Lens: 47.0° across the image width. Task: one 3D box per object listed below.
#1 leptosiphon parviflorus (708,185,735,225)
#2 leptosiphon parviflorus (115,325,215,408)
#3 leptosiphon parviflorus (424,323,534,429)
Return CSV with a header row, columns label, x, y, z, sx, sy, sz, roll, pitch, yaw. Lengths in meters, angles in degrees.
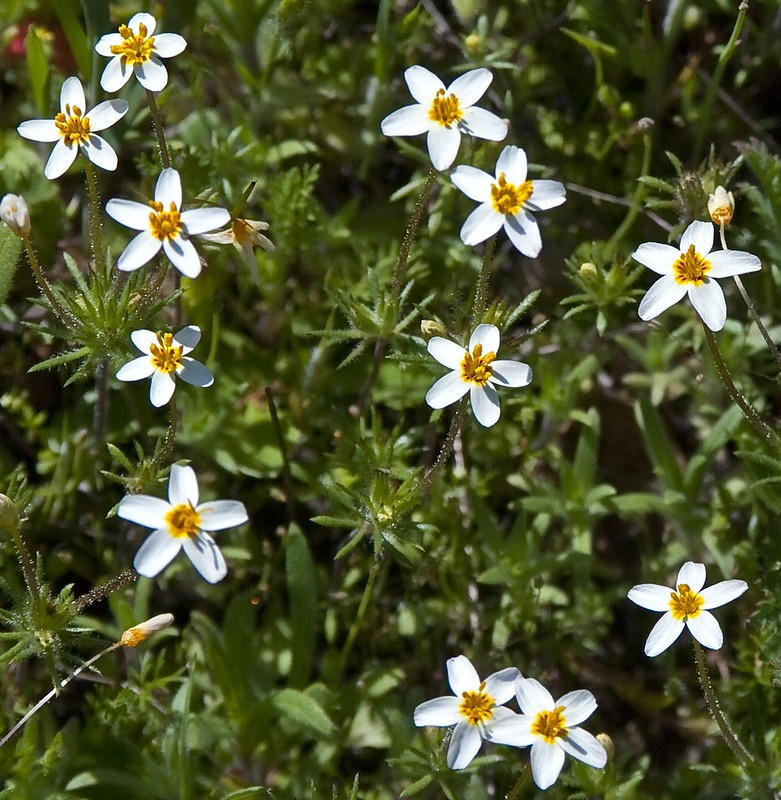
label,x,y,z,sx,sy,sz,roll,pitch,yaw
leptosiphon parviflorus,0.914,-0.524,2.477,0.063,0.040,0.124,-6,84,36
leptosiphon parviflorus,-0.601,-0.086,2.378,0.233,0.062,0.176,-21,79,-13
leptosiphon parviflorus,0.211,-0.066,2.308,0.201,0.214,0.080,-9,69,-37
